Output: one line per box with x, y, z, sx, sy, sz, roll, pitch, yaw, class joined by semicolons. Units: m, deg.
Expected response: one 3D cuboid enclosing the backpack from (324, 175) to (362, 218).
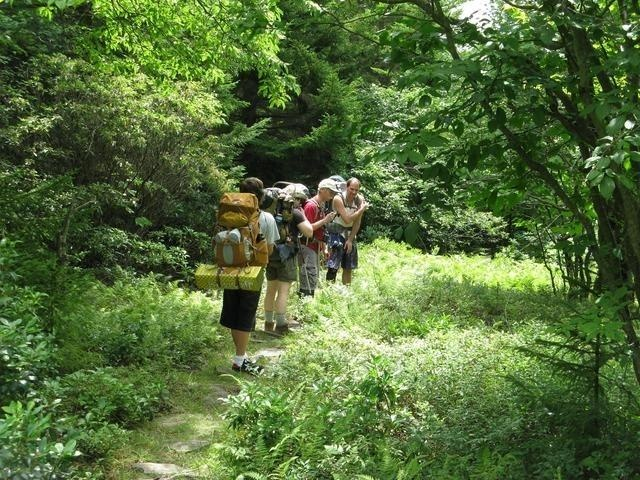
0.380;-0.774;9.784;0.629;0.526;0.465;19;30;4;backpack

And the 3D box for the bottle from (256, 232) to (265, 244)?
-0.678;-0.030;6.972;0.090;0.098;0.103;-2;-6;-4;bottle

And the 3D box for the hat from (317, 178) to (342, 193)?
0.170;-0.840;9.455;0.338;0.150;0.237;-1;8;-15;hat

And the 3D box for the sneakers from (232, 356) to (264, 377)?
-0.841;1.469;7.199;0.408;0.157;0.164;4;13;9;sneakers
